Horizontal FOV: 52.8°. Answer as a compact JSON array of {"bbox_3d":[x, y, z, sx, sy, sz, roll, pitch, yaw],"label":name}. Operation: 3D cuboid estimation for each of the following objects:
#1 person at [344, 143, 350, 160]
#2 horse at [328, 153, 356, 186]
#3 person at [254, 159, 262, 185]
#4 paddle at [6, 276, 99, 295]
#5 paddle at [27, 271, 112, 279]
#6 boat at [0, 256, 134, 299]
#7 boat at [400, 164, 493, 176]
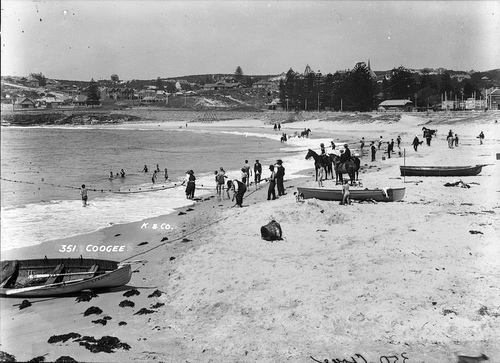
[{"bbox_3d":[4.947,-1.482,25.502,0.211,0.609,1.182,-3,10,12],"label":"person"},{"bbox_3d":[4.582,-0.652,25.520,1.752,1.324,0.582,11,1,36],"label":"horse"},{"bbox_3d":[0.433,-0.510,30.010,0.383,1.563,1.104,-5,9,0],"label":"person"},{"bbox_3d":[-6.554,3.364,16.119,2.586,0.207,0.334,-6,10,-3],"label":"paddle"},{"bbox_3d":[-5.929,3.091,16.665,2.941,0.209,0.273,0,-34,9],"label":"paddle"},{"bbox_3d":[-6.142,3.166,16.692,4.015,1.047,1.784,0,33,1],"label":"boat"},{"bbox_3d":[11.335,-0.626,28.759,2.821,0.541,0.746,0,9,20],"label":"boat"}]
